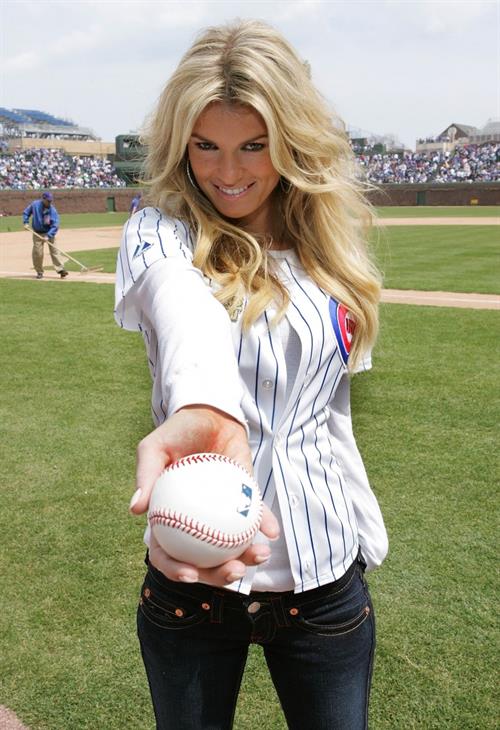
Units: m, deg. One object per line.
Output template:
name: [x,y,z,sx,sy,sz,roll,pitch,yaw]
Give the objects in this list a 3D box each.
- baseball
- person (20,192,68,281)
baseball: [-0.068,0.232,1.105,0.185,0.166,0.177,0,-7,0]
person: [-4.350,-2.895,14.420,0.927,2.265,0.916,20,25,37]
